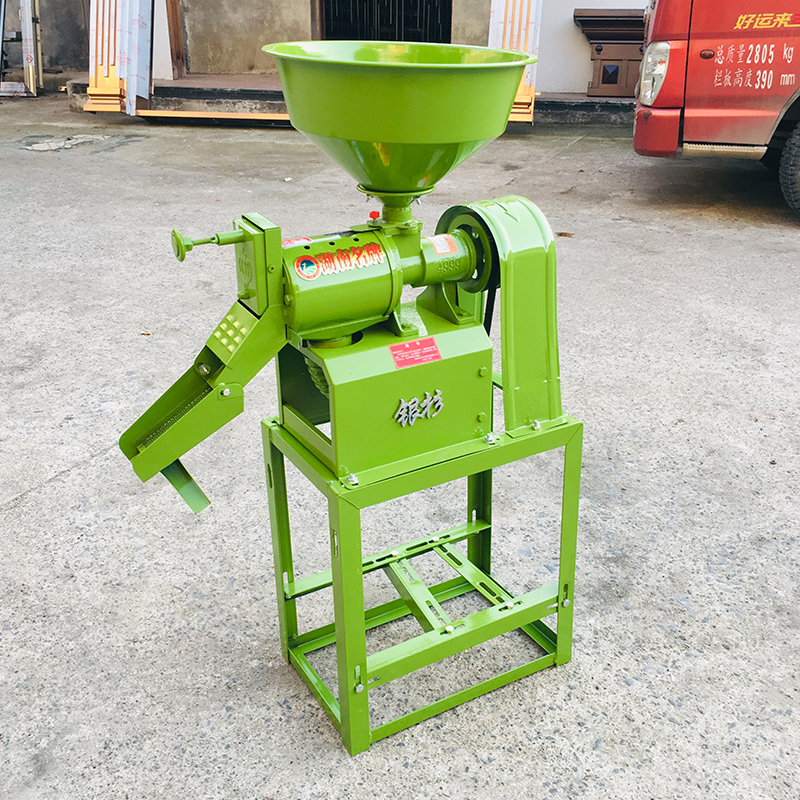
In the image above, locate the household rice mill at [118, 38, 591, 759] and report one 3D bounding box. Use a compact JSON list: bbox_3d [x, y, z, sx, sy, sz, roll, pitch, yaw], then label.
[{"bbox_3d":[-0.039,0.008,2.000,1.270,1.853,0.721,-10,28,-27],"label":"household rice mill"}]
